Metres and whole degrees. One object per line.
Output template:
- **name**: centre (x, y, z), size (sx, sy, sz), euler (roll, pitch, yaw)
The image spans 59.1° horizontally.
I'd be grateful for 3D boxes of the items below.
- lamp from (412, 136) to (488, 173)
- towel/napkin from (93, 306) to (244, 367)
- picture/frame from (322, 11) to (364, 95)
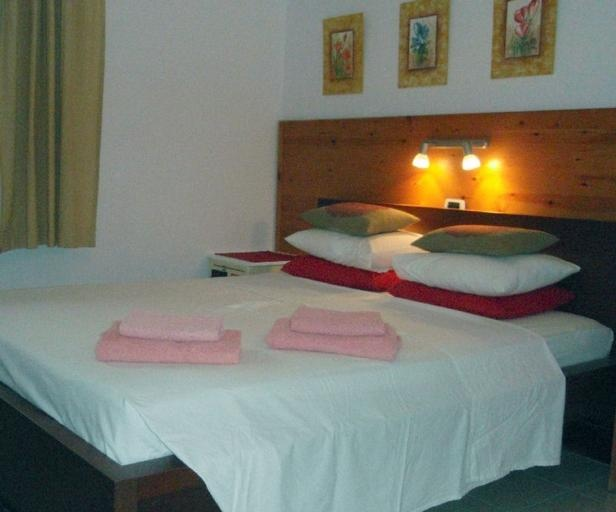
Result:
- **lamp**: centre (0.830, -0.621, 3.323), size (0.157, 0.187, 0.534), euler (-7, 13, -42)
- **towel/napkin**: centre (-0.476, 0.276, 1.947), size (0.501, 0.091, 0.411), euler (2, 9, -1)
- **picture/frame**: centre (0.256, -1.469, 3.983), size (0.392, 0.557, 0.033), euler (12, 14, 43)
